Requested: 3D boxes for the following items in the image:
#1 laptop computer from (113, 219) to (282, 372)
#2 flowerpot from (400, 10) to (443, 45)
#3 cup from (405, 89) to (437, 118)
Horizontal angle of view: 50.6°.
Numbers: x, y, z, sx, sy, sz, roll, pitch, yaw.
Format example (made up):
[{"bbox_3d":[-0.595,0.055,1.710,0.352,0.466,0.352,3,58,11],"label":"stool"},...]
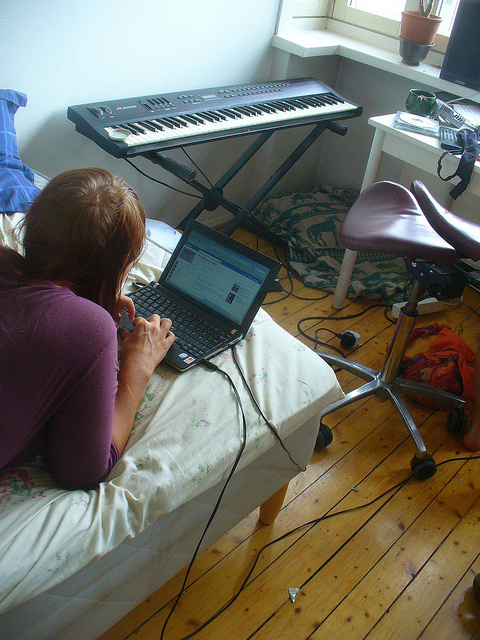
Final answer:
[{"bbox_3d":[-0.113,-0.064,1.128,0.315,0.139,0.324,-34,50,-29],"label":"laptop computer"},{"bbox_3d":[0.774,-1.250,2.185,0.159,0.101,0.157,6,43,-4],"label":"flowerpot"},{"bbox_3d":[0.735,-0.871,2.095,0.101,0.090,0.126,5,46,-6],"label":"cup"}]
